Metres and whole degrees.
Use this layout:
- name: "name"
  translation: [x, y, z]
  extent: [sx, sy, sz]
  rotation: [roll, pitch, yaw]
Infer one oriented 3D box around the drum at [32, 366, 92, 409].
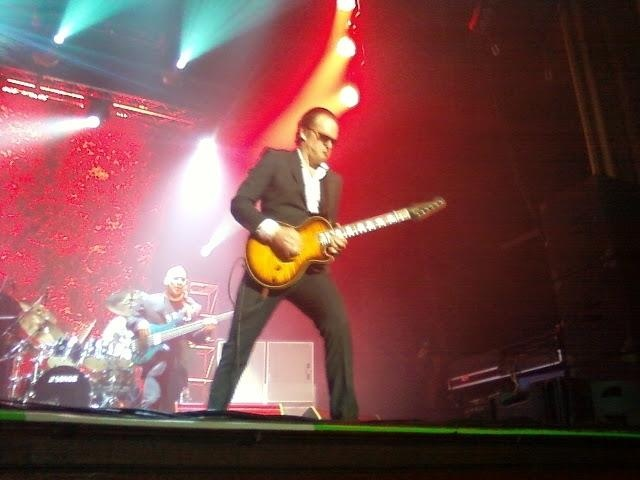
- name: "drum"
  translation: [-2.293, 1.302, 4.905]
  extent: [0.526, 0.345, 0.246]
  rotation: [11, -25, -11]
